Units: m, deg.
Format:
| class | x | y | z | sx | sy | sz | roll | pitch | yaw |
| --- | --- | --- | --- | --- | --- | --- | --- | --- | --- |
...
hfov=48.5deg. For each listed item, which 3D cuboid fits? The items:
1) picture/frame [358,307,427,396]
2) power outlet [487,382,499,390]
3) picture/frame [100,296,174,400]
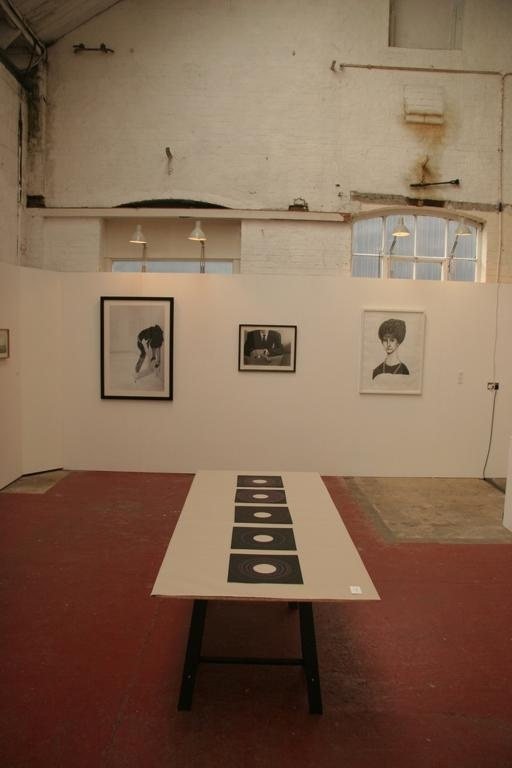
| class | x | y | z | sx | sy | sz | roll | pitch | yaw |
| --- | --- | --- | --- | --- | --- | --- | --- | --- | --- |
| picture/frame | 1.728 | -0.404 | 7.191 | 0.757 | 0.046 | 1.316 | -1 | 56 | 18 |
| power outlet | 3.032 | 0.039 | 7.257 | 0.146 | 0.109 | 0.047 | 0 | 5 | -13 |
| picture/frame | -1.480 | -0.499 | 7.086 | 0.867 | 1.666 | 0.052 | 1 | 4 | -4 |
